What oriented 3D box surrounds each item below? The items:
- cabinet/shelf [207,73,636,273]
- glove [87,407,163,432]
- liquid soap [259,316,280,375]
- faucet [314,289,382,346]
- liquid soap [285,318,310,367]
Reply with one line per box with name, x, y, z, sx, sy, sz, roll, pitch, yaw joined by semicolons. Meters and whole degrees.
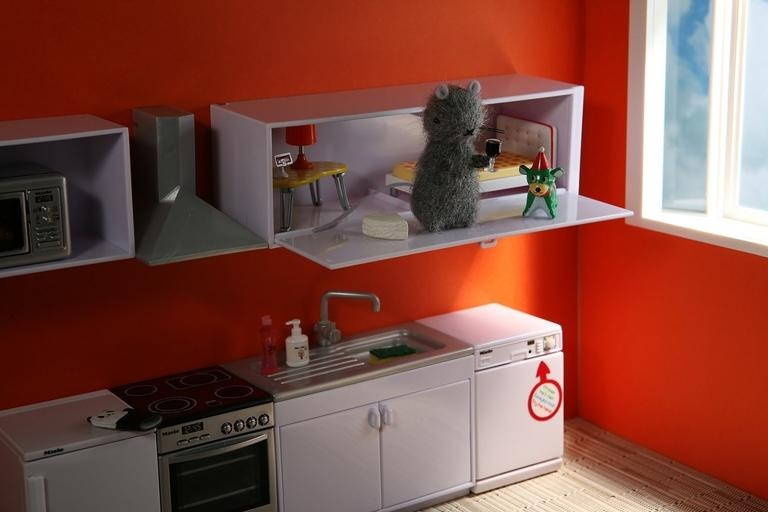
cabinet/shelf;0.132;-0.410;3.504;1.987;1.021;0.838;-7;14;-19
glove;-1.194;0.754;3.047;0.242;0.050;0.140;2;13;1
liquid soap;-0.632;0.452;3.592;0.098;0.292;0.261;-5;13;-10
faucet;-0.222;0.334;3.802;0.365;0.323;0.262;-4;13;-7
liquid soap;-0.476;0.469;3.628;0.138;0.247;0.139;-3;11;-4
